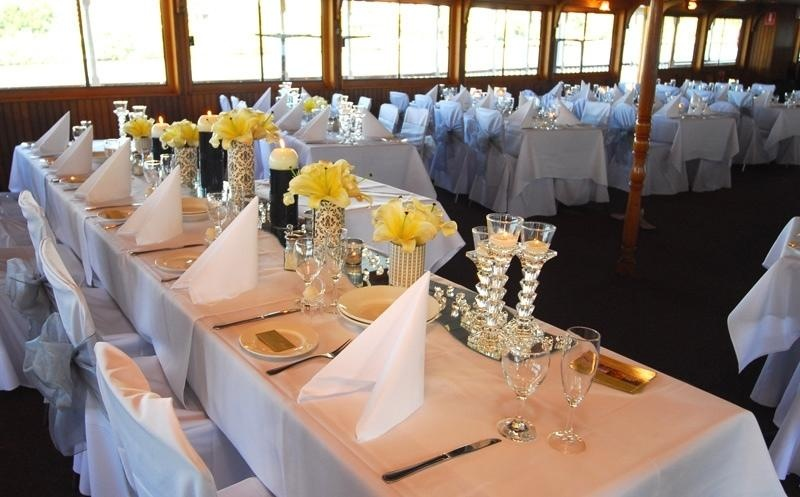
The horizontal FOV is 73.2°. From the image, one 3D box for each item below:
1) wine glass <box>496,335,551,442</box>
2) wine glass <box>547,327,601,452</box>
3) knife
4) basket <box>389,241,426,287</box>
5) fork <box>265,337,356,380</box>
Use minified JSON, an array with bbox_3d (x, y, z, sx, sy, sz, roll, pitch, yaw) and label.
[{"bbox_3d":[0.426,0.456,1.834,0.149,0.320,0.234,5,16,22],"label":"wine glass"},{"bbox_3d":[0.590,0.452,1.821,0.129,0.371,0.284,5,16,23],"label":"wine glass"},{"bbox_3d":[0.130,0.680,1.725,0.303,0.016,0.051,-15,28,-26],"label":"knife"},{"bbox_3d":[0.022,0.072,2.313,0.158,0.193,0.117,0,15,8],"label":"basket"},{"bbox_3d":[-0.336,0.415,1.999,0.306,0.048,0.043,-18,41,-15],"label":"fork"}]
